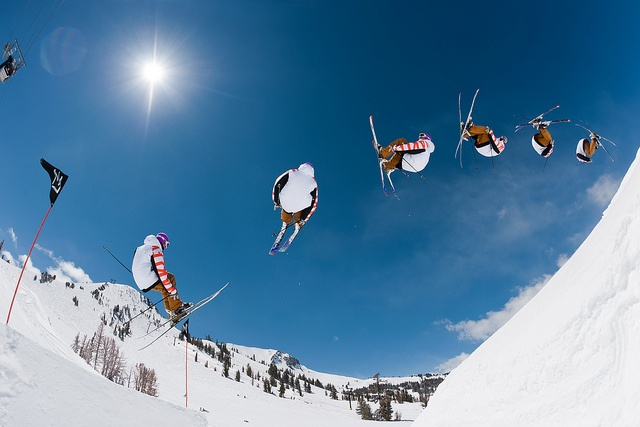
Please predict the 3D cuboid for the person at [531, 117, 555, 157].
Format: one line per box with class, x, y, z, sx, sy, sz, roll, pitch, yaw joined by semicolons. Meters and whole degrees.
person;14.663;-5.199;31.466;1.163;2.526;1.136;6;-23;-40
